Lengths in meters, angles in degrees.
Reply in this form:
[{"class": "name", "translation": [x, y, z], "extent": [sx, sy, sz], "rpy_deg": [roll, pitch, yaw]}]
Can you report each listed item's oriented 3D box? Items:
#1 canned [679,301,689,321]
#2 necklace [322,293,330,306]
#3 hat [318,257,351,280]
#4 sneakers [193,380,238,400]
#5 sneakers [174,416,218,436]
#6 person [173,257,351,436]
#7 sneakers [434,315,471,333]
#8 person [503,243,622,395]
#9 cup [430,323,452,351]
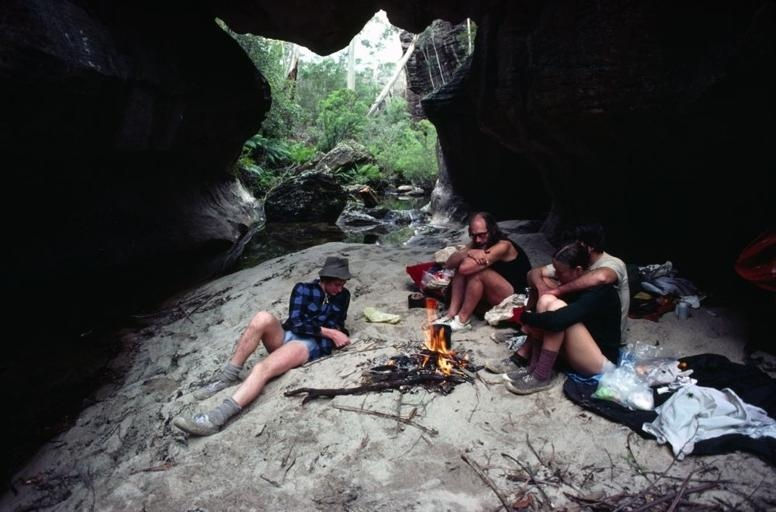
[{"class": "canned", "translation": [3.481, 0.651, 5.349], "extent": [0.117, 0.167, 0.170], "rpy_deg": [5, 42, 20]}, {"class": "necklace", "translation": [-0.715, 0.474, 5.113], "extent": [0.080, 0.106, 0.054], "rpy_deg": [26, -17, -17]}, {"class": "hat", "translation": [-0.589, 0.139, 5.039], "extent": [0.308, 0.143, 0.272], "rpy_deg": [6, 5, -8]}, {"class": "sneakers", "translation": [-1.788, 1.381, 4.698], "extent": [0.426, 0.149, 0.145], "rpy_deg": [-3, -5, -17]}, {"class": "sneakers", "translation": [-1.801, 1.573, 4.240], "extent": [0.325, 0.136, 0.180], "rpy_deg": [5, 48, -41]}, {"class": "person", "translation": [-1.137, 0.836, 4.921], "extent": [1.038, 1.336, 2.354], "rpy_deg": [25, 31, 39]}, {"class": "sneakers", "translation": [0.766, 0.815, 5.452], "extent": [0.383, 0.138, 0.208], "rpy_deg": [18, -6, -2]}, {"class": "person", "translation": [1.857, 0.598, 4.577], "extent": [0.946, 1.419, 1.150], "rpy_deg": [11, 21, 27]}, {"class": "cup", "translation": [0.587, 0.874, 5.003], "extent": [0.279, 0.279, 0.262], "rpy_deg": [-1, 5, 0]}]
